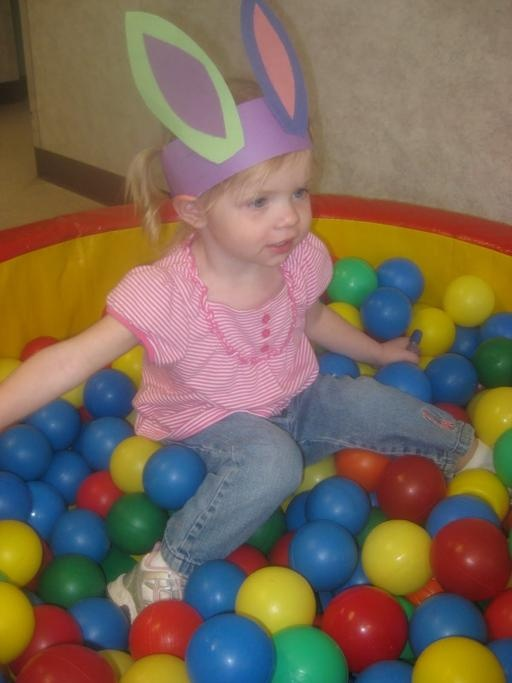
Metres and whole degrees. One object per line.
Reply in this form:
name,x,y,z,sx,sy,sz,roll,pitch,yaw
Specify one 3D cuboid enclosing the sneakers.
sneakers,-0.200,0.431,1.183,0.137,0.100,0.110,-21,43,-16
